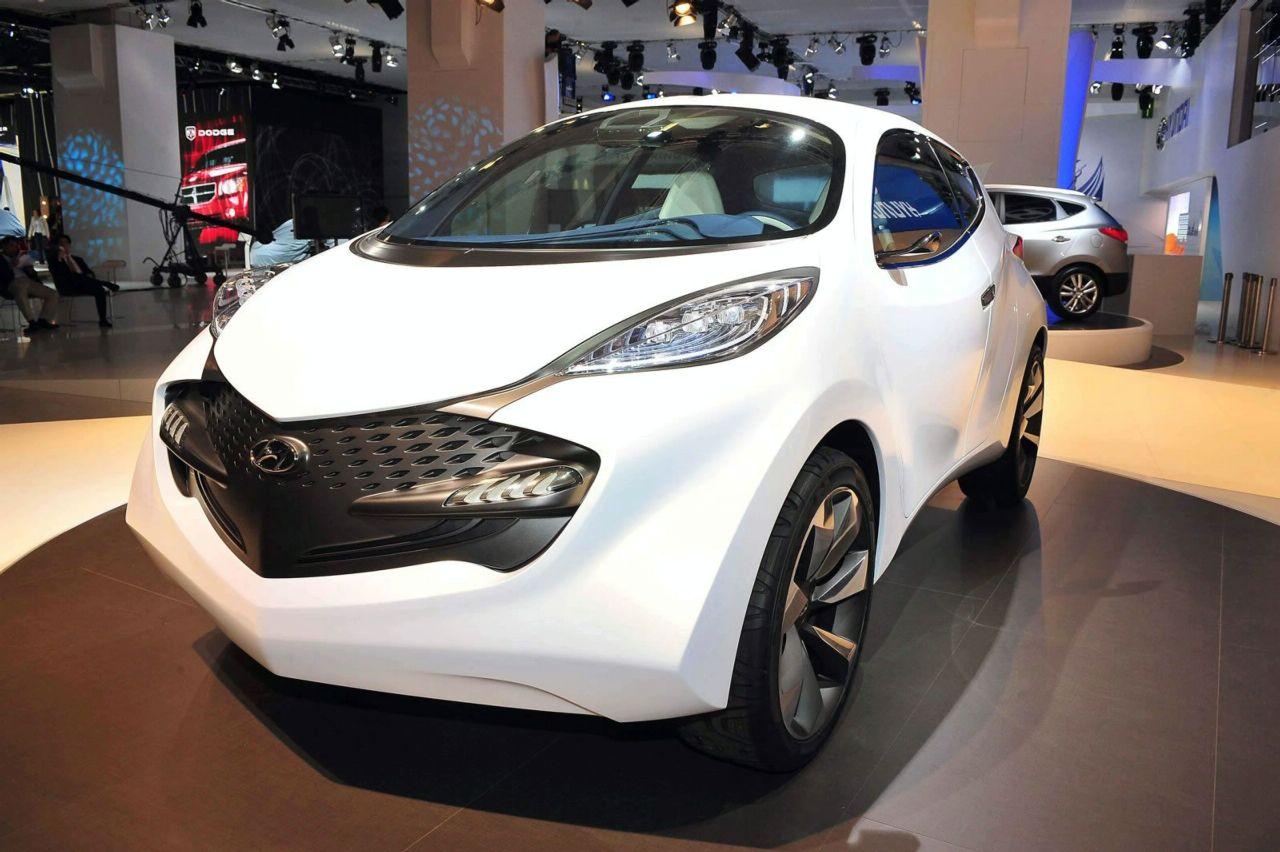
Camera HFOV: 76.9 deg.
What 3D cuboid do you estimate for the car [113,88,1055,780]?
[{"bbox_3d":[-0.029,-0.119,2.596,2.742,1.875,1.575,-17,22,-39],"label":"car"}]
